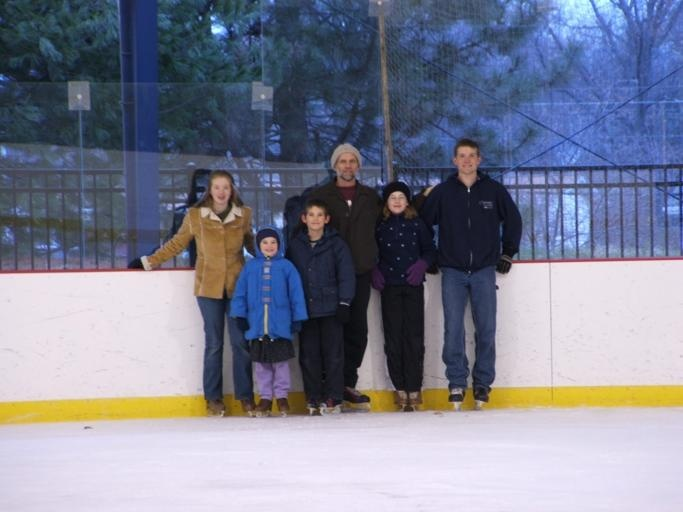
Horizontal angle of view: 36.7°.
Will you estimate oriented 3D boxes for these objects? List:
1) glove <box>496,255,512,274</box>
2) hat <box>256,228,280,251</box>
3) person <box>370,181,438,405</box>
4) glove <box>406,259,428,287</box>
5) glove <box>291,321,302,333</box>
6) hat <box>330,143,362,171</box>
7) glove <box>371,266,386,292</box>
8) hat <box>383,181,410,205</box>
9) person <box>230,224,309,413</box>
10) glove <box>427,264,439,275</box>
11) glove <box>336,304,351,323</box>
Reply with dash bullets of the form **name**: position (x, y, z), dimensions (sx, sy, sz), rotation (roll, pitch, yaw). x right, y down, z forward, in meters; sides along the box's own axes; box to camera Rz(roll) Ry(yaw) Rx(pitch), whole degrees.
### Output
- **glove**: position (1.387, 0.063, 8.775), dimensions (0.118, 0.145, 0.061), rotation (5, -9, 7)
- **hat**: position (-0.628, -0.140, 8.695), dimensions (0.147, 0.196, 0.151), rotation (2, -1, -7)
- **person**: position (0.535, 0.328, 8.804), dimensions (0.527, 1.879, 0.549), rotation (0, 12, 5)
- **glove**: position (0.634, 0.127, 8.724), dimensions (0.182, 0.215, 0.113), rotation (-9, 14, -35)
- **glove**: position (-0.377, 0.583, 8.690), dimensions (0.075, 0.051, 0.098), rotation (4, -39, -2)
- **hat**: position (0.030, -0.875, 9.202), dimensions (0.253, 0.207, 0.255), rotation (-2, 1, -4)
- **glove**: position (0.302, 0.197, 8.765), dimensions (0.049, 0.169, 0.124), rotation (-4, -13, -32)
- **hat**: position (0.467, -0.558, 8.850), dimensions (0.215, 0.170, 0.163), rotation (-4, 3, -11)
- **person**: position (-0.609, 0.543, 8.645), dimensions (0.645, 1.521, 0.471), rotation (-1, 12, 0)
- **glove**: position (0.794, 0.100, 8.917), dimensions (0.092, 0.081, 0.146), rotation (8, 6, 9)
- **glove**: position (0.010, 0.462, 8.519), dimensions (0.106, 0.147, 0.054), rotation (1, -7, -4)
